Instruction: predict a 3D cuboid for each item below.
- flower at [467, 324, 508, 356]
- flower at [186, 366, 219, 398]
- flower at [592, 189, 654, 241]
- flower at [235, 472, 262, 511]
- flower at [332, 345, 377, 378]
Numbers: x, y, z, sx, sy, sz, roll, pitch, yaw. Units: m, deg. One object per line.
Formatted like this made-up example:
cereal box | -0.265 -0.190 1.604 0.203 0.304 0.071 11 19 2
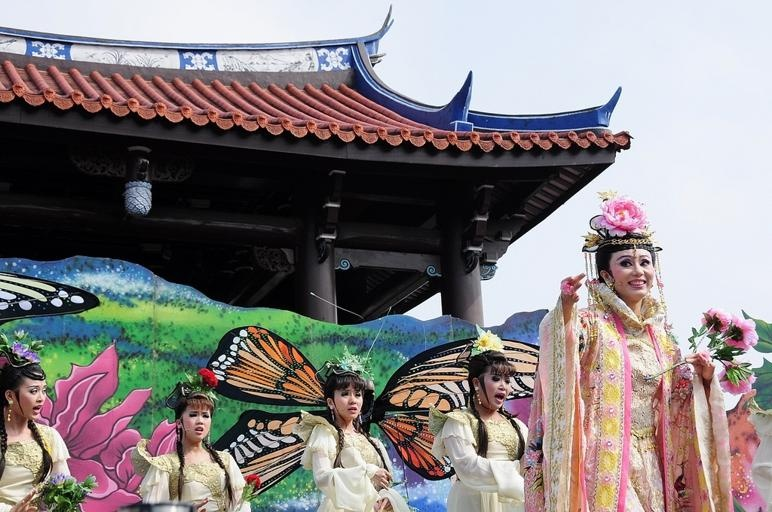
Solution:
flower | 0.914 0.826 8.014 0.354 0.344 0.120 2 -72 11
flower | -1.574 1.106 7.658 0.270 0.215 0.275 43 -19 -13
flower | 1.604 -0.230 6.120 0.387 0.368 0.138 -23 -30 -11
flower | -1.150 1.990 7.546 0.138 0.376 0.459 8 -28 -6
flower | -0.295 1.012 8.401 0.339 0.184 0.328 12 5 27
